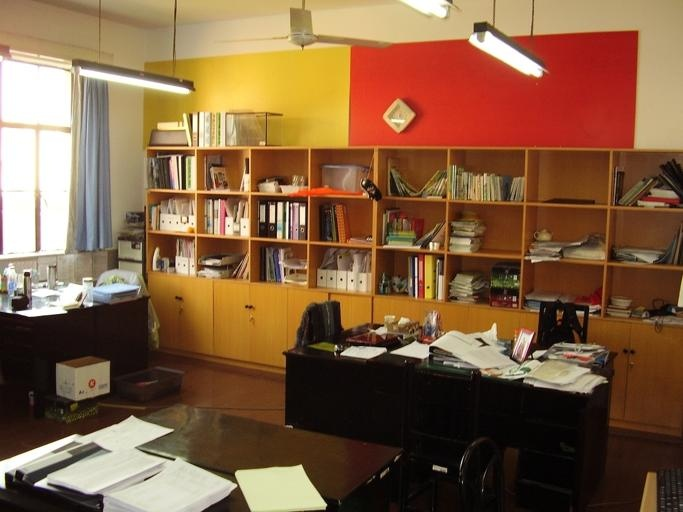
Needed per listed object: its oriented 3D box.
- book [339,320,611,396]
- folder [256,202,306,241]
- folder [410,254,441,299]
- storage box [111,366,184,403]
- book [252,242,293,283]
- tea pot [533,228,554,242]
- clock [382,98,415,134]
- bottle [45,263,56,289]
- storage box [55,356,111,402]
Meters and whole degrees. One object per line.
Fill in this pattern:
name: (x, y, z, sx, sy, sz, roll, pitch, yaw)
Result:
book: (1.263, 0.653, 3.942, 1.129, 0.236, 0.872, 7, 9, 27)
folder: (-0.660, -0.418, 6.396, 0.714, 0.525, 0.394, 3, 6, 23)
folder: (0.921, 0.177, 5.985, 0.375, 0.521, 0.527, 0, 0, 20)
storage box: (-1.903, 1.303, 5.602, 0.335, 0.146, 0.433, 3, 4, 36)
book: (-0.753, 0.076, 6.682, 0.392, 0.553, 0.408, 4, 5, 26)
tea pot: (1.984, -0.201, 5.470, 0.162, 0.114, 0.111, 0, 6, 39)
clock: (0.620, -1.501, 5.968, 0.355, 0.363, 0.063, 6, 8, 23)
bottle: (-3.084, 0.218, 5.902, 0.071, 0.247, 0.261, -3, 10, -36)
storage box: (-2.458, 1.186, 5.302, 0.245, 0.301, 0.435, 2, -2, 17)
